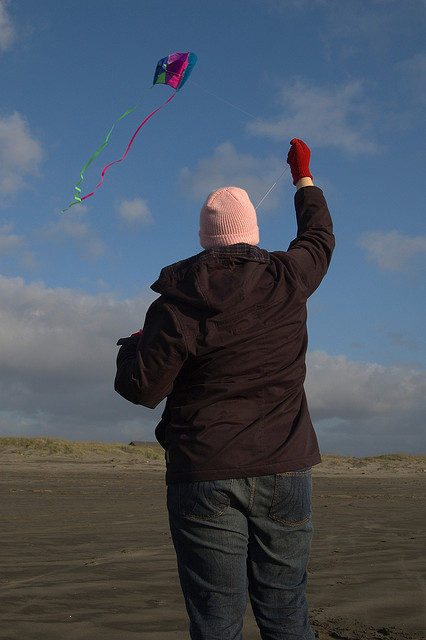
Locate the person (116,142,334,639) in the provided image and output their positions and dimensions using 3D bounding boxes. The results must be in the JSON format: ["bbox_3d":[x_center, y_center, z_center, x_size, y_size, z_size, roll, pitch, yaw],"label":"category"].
[{"bbox_3d":[0.114,0.292,2.165,0.818,1.563,0.406,5,-8,-31],"label":"person"}]
